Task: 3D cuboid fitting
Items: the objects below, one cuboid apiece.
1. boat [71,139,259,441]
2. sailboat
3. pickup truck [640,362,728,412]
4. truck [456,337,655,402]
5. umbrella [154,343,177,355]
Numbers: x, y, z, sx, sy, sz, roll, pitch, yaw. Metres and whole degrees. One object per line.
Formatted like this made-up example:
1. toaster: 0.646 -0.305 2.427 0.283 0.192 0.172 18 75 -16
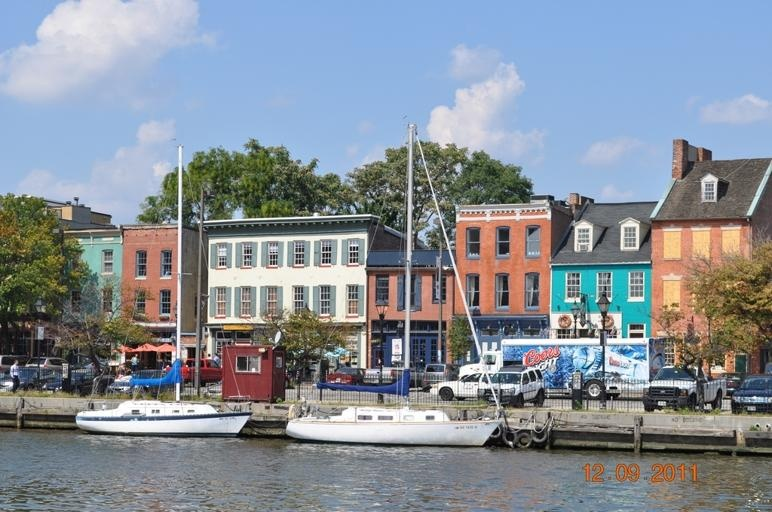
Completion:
1. boat: -15.623 4.337 126.507 14.325 19.282 8.869 8 5 15
2. sailboat: 0.408 1.822 104.030 12.986 18.963 3.564 1 4 19
3. pickup truck: 18.568 8.244 109.314 3.226 2.582 7.501 0 -1 32
4. truck: 12.271 7.874 117.109 12.433 4.384 5.069 -2 -8 26
5. umbrella: -16.526 6.882 132.146 1.508 0.688 1.538 -1 -8 5
